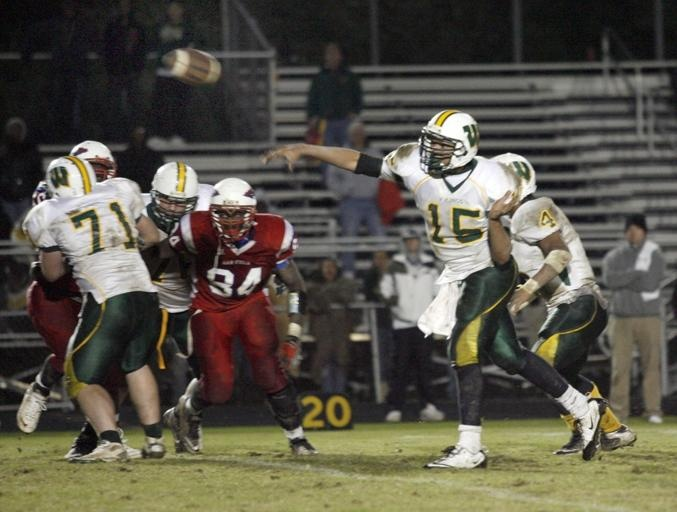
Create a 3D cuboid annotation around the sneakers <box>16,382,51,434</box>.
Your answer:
[{"bbox_3d":[-2.885,1.425,13.086,0.134,0.367,0.154,22,-36,-9],"label":"sneakers"}]

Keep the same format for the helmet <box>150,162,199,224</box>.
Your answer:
[{"bbox_3d":[-1.534,-0.558,12.854,0.457,0.537,0.552,13,33,-21],"label":"helmet"}]

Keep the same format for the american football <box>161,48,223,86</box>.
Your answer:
[{"bbox_3d":[-1.473,-1.873,13.834,0.569,0.345,0.215,-1,2,-11],"label":"american football"}]

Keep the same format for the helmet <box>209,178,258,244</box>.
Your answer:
[{"bbox_3d":[-0.956,-0.399,12.599,0.499,0.524,0.567,1,18,1],"label":"helmet"}]

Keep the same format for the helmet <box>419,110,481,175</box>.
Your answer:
[{"bbox_3d":[1.032,-1.045,12.623,0.624,0.502,0.467,-14,22,-30],"label":"helmet"}]
